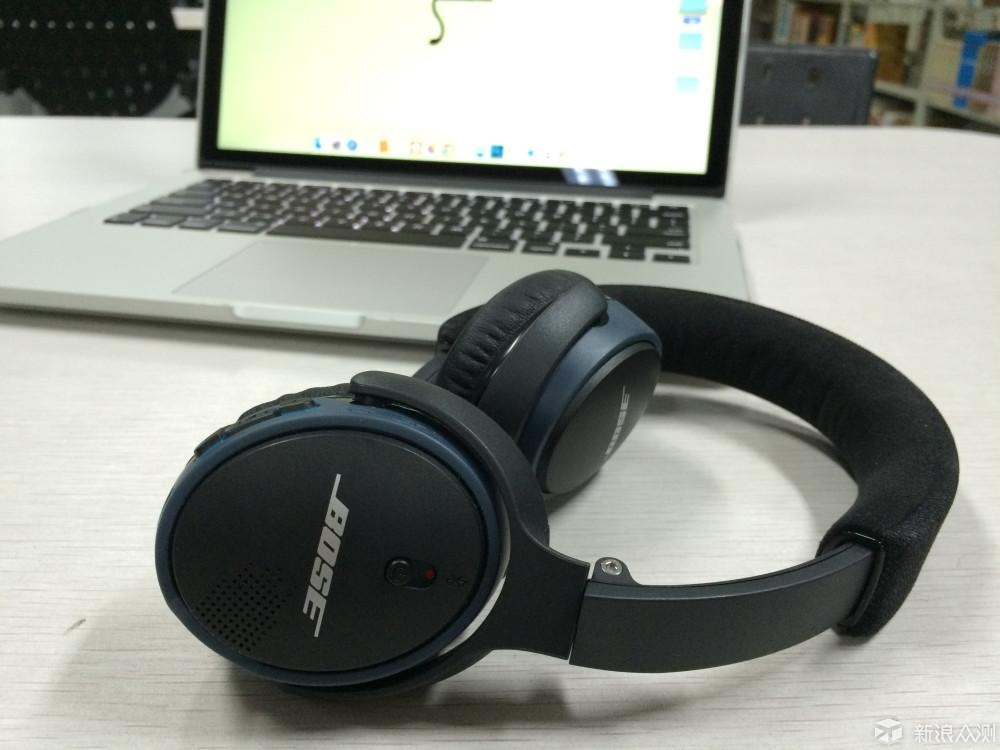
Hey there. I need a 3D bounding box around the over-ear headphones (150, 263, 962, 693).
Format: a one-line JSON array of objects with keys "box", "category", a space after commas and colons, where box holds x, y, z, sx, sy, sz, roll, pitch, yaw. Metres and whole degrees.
[{"box": [0.028, 0.108, 0.600, 0.379, 0.153, 0.287, 10, 35, -8], "category": "over-ear headphones"}]
